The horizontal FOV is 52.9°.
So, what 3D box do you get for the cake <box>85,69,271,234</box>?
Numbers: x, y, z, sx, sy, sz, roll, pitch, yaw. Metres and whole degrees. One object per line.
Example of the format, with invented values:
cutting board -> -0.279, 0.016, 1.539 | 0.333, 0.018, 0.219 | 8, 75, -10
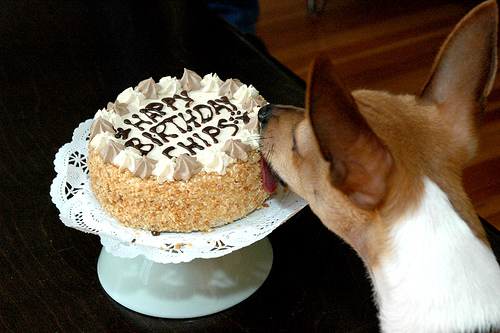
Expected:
cake -> -0.302, -0.063, 1.880 | 0.624, 0.301, 0.634 | 22, 48, 25
